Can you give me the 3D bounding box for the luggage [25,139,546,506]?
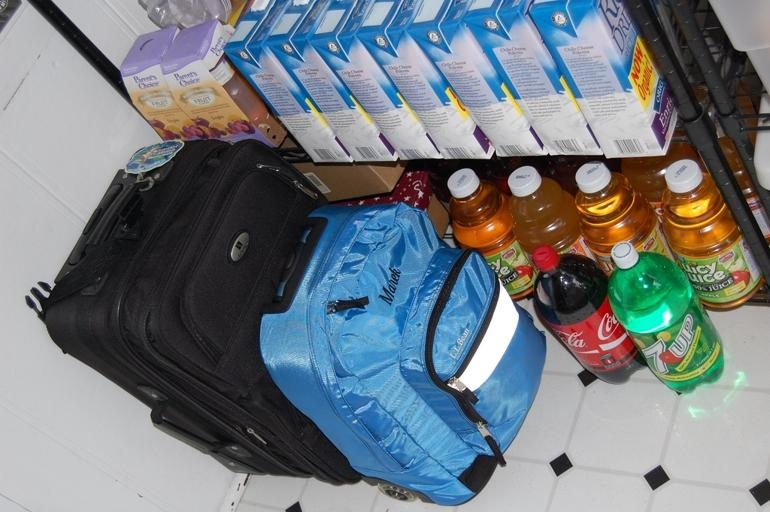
[{"bbox_3d":[-0.229,0.123,1.539,1.252,0.880,0.769,18,74,13],"label":"luggage"}]
